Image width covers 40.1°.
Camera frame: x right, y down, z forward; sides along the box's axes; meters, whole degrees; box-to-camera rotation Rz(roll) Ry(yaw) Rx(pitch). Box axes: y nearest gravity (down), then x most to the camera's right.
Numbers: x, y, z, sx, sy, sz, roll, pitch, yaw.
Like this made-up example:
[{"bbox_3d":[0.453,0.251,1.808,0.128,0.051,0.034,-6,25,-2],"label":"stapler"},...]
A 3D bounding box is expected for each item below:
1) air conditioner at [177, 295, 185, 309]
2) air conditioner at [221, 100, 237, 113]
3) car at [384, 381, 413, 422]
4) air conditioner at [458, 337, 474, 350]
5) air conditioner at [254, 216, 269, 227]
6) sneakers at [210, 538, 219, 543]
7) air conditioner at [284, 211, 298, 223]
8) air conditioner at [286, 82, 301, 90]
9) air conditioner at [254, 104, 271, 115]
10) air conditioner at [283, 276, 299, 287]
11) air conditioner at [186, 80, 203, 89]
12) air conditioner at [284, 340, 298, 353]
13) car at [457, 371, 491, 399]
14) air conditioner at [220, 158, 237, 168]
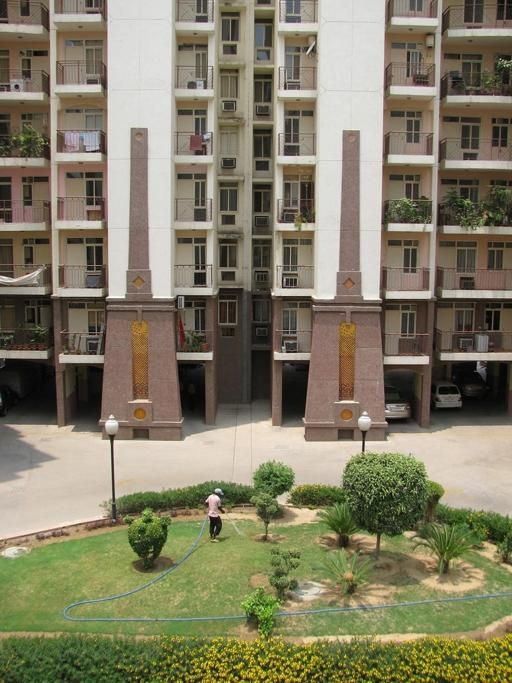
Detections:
[{"bbox_3d":[-3.168,-1.651,29.621,0.230,0.542,0.786,-1,6,-13],"label":"air conditioner"},{"bbox_3d":[-1.313,-11.300,33.713,0.916,0.722,0.481,-1,10,-6],"label":"air conditioner"},{"bbox_3d":[6.343,2.998,31.553,1.094,1.303,2.278,1,6,10],"label":"car"},{"bbox_3d":[9.192,0.140,31.014,0.742,0.706,0.543,-1,2,-3],"label":"air conditioner"},{"bbox_3d":[0.327,-6.168,34.927,0.787,0.484,0.417,1,44,-1],"label":"air conditioner"},{"bbox_3d":[-1.041,5.089,17.861,0.209,0.086,0.076,1,4,-6],"label":"sneakers"},{"bbox_3d":[1.482,-5.329,30.008,0.689,0.625,0.364,-1,1,-4],"label":"air conditioner"},{"bbox_3d":[1.537,-10.881,29.706,0.637,0.401,0.386,0,6,-1],"label":"air conditioner"},{"bbox_3d":[0.330,-11.318,34.254,0.912,0.557,0.482,-1,0,-1],"label":"air conditioner"},{"bbox_3d":[1.469,-2.570,30.240,0.739,0.518,0.401,3,15,6],"label":"air conditioner"},{"bbox_3d":[-2.560,-11.042,29.880,0.835,0.463,0.320,0,6,-2],"label":"air conditioner"},{"bbox_3d":[1.486,0.252,30.716,0.654,0.624,0.474,0,-8,-3],"label":"air conditioner"},{"bbox_3d":[11.295,2.322,36.439,1.400,0.737,4.293,-1,1,6],"label":"car"},{"bbox_3d":[-1.341,-8.706,33.711,0.798,0.550,0.420,0,49,-1],"label":"air conditioner"}]
